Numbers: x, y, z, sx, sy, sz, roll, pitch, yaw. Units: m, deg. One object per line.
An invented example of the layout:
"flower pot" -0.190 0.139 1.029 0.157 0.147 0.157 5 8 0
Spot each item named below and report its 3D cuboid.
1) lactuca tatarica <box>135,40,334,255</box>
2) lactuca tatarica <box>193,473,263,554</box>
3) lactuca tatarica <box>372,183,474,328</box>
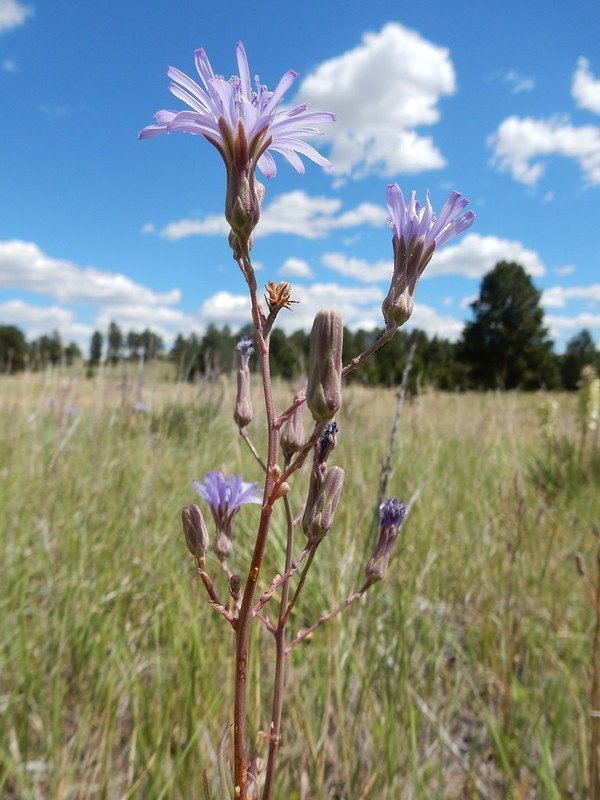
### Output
"lactuca tatarica" -0.154 -0.554 1.333 0.267 0.428 0.329 1 13 26
"lactuca tatarica" -0.203 0.318 1.550 0.105 0.239 0.140 6 -3 3
"lactuca tatarica" 0.280 -0.361 1.463 0.177 0.389 0.163 23 0 43
